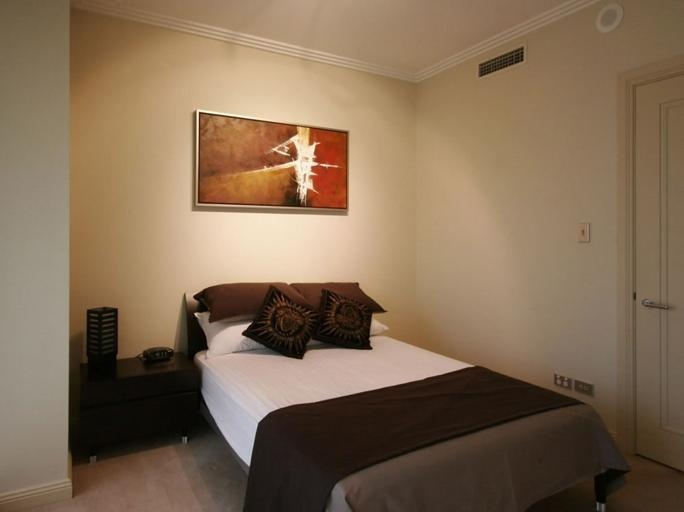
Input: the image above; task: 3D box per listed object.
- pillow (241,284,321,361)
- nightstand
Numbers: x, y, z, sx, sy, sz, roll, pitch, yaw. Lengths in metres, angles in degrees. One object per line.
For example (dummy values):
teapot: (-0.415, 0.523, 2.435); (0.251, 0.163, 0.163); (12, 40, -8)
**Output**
pillow: (-0.426, 0.566, 3.885); (0.514, 0.164, 0.565); (15, 42, -32)
nightstand: (-1.443, 1.059, 3.535); (0.643, 0.558, 0.683); (2, -10, -30)
